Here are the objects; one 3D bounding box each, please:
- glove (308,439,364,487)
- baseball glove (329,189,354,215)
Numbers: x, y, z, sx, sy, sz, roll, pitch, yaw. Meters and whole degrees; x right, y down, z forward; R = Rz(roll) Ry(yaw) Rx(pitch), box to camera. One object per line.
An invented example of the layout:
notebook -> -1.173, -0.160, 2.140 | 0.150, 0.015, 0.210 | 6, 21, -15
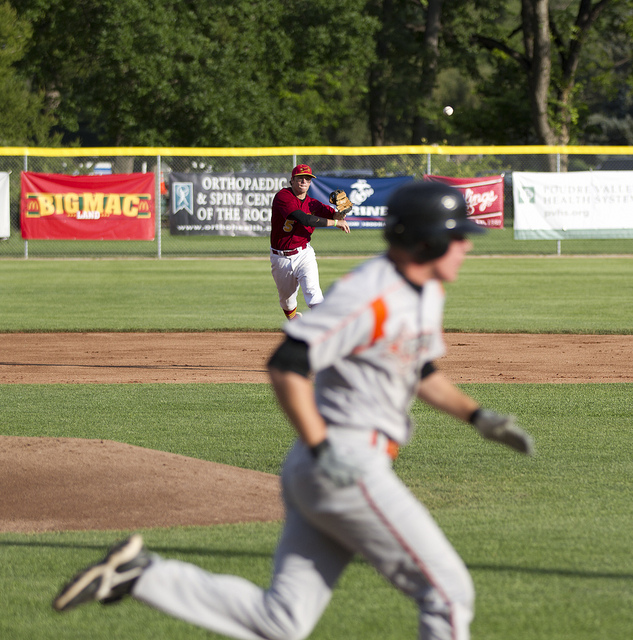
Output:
glove -> 0.152, 0.999, 10.642 | 0.510, 0.350, 0.314 | -4, 10, -16
baseball glove -> 0.336, -1.408, 18.596 | 0.254, 0.176, 0.367 | -22, 51, -17
